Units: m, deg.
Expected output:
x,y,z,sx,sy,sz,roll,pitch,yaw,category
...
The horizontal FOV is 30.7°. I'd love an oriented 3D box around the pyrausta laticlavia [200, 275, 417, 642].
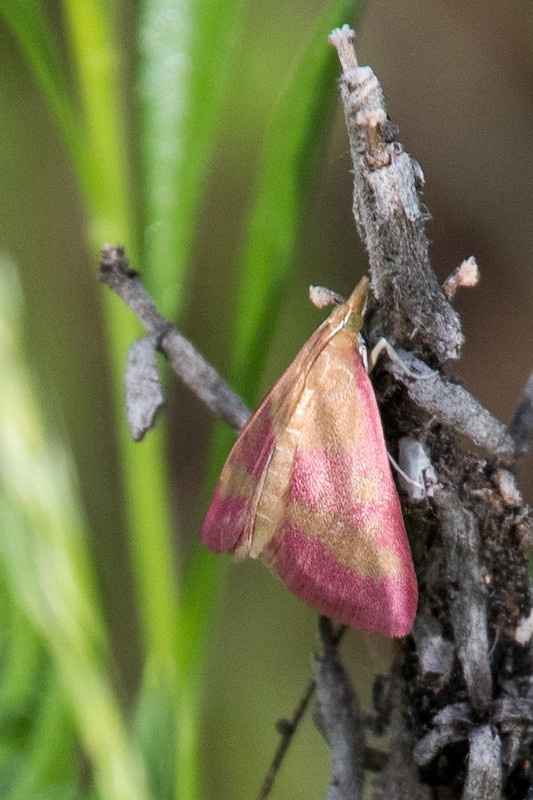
x,y,z,sx,sy,sz,roll,pitch,yaw,category
0.032,0.028,0.500,0.042,0.164,0.157,-1,17,-37,pyrausta laticlavia
